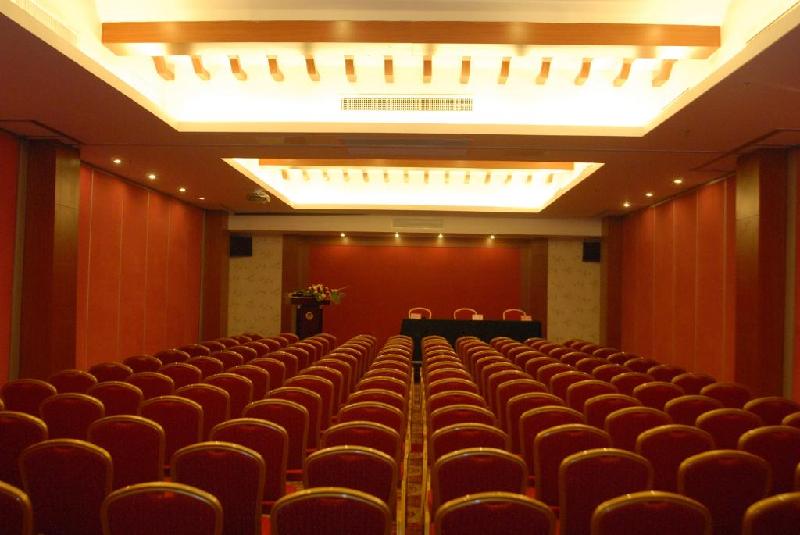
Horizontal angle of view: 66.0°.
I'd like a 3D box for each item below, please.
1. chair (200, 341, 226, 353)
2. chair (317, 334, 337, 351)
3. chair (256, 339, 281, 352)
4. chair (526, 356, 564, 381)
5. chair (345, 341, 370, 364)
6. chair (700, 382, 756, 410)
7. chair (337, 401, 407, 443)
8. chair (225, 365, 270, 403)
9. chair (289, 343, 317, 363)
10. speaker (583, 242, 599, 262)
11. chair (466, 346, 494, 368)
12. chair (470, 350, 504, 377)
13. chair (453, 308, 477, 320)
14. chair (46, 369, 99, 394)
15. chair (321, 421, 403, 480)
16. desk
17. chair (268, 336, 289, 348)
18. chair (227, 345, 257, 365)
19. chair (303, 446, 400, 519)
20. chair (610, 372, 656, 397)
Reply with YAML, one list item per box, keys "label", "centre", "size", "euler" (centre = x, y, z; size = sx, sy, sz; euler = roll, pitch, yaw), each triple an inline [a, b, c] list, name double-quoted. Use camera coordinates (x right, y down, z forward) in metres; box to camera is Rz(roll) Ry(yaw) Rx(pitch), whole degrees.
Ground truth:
- label: "chair"
  centre: [-3.305, 1.387, 10.957]
  size: [0.262, 0.359, 0.302]
  euler: [2, 0, 13]
- label: "chair"
  centre: [-1.416, 1.427, 12.018]
  size: [0.388, 0.481, 0.415]
  euler: [3, -12, -12]
- label: "chair"
  centre: [-2.380, 1.389, 11.101]
  size: [0.291, 0.356, 0.301]
  euler: [4, -10, -14]
- label: "chair"
  centre: [1.942, 1.336, 8.513]
  size: [0.440, 0.370, 0.237]
  euler: [1, 6, -1]
- label: "chair"
  centre: [-0.674, 1.462, 10.668]
  size: [0.441, 0.389, 0.769]
  euler: [2, -5, 3]
- label: "chair"
  centre: [3.780, 1.470, 7.171]
  size: [0.378, 0.497, 0.429]
  euler: [1, -1, 8]
- label: "chair"
  centre: [-0.258, 1.426, 5.900]
  size: [0.422, 0.560, 0.474]
  euler: [2, -4, 4]
- label: "chair"
  centre: [-1.994, 1.468, 7.806]
  size: [0.457, 0.709, 0.469]
  euler: [2, -6, -3]
- label: "chair"
  centre: [-1.636, 1.396, 10.310]
  size: [0.340, 0.538, 0.350]
  euler: [3, 3, 16]
- label: "speaker"
  centre: [5.304, -0.448, 17.369]
  size: [0.478, 0.470, 0.422]
  euler: [-4, -39, 8]
- label: "chair"
  centre: [1.207, 1.339, 9.367]
  size: [0.409, 0.360, 0.342]
  euler: [2, -8, -7]
- label: "chair"
  centre: [1.192, 1.354, 8.762]
  size: [0.372, 0.597, 0.423]
  euler: [1, -1, 7]
- label: "chair"
  centre: [1.806, 1.260, 17.650]
  size: [0.652, 0.359, 0.322]
  euler: [0, -39, 3]
- label: "chair"
  centre: [-3.817, 1.345, 7.203]
  size: [0.257, 0.409, 0.274]
  euler: [3, -2, 0]
- label: "chair"
  centre: [-0.284, 1.576, 5.441]
  size: [0.487, 0.658, 0.552]
  euler: [2, -6, 3]
- label: "desk"
  centre: [1.715, 1.741, 14.148]
  size: [3.257, 1.185, 0.966]
  euler: [-3, -4, 20]
- label: "chair"
  centre: [-2.307, 1.407, 11.645]
  size: [0.218, 0.266, 0.228]
  euler: [3, -13, -11]
- label: "chair"
  centre: [-2.521, 1.400, 9.870]
  size: [0.319, 0.411, 0.317]
  euler: [2, -10, -11]
- label: "chair"
  centre: [-0.385, 1.582, 4.801]
  size: [0.569, 0.768, 0.651]
  euler: [1, -5, 2]
- label: "chair"
  centre: [2.829, 1.394, 7.616]
  size: [0.360, 0.443, 0.379]
  euler: [2, 1, 9]
